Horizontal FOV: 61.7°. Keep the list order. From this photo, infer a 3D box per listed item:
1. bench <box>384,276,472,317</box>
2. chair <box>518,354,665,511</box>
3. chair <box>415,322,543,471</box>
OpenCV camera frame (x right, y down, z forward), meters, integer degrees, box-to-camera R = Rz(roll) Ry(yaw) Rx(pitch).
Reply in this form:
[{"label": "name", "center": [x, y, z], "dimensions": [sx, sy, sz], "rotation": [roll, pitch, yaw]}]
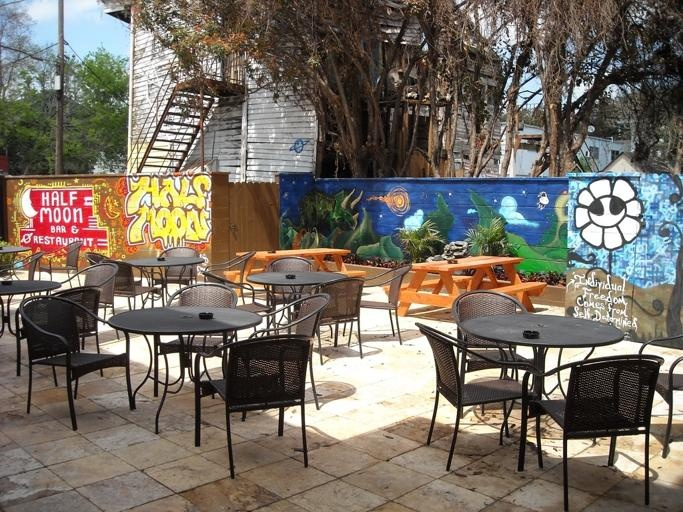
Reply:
[{"label": "bench", "center": [1.520, 0.637, 9.692], "dimensions": [0.940, 0.491, 1.056], "rotation": [5, 10, 37]}, {"label": "chair", "center": [1.777, 1.225, 4.203], "dimensions": [0.936, 1.078, 0.708], "rotation": [4, 9, 26]}, {"label": "chair", "center": [0.941, 1.116, 5.130], "dimensions": [1.187, 1.356, 1.048], "rotation": [-3, 6, -13]}]
